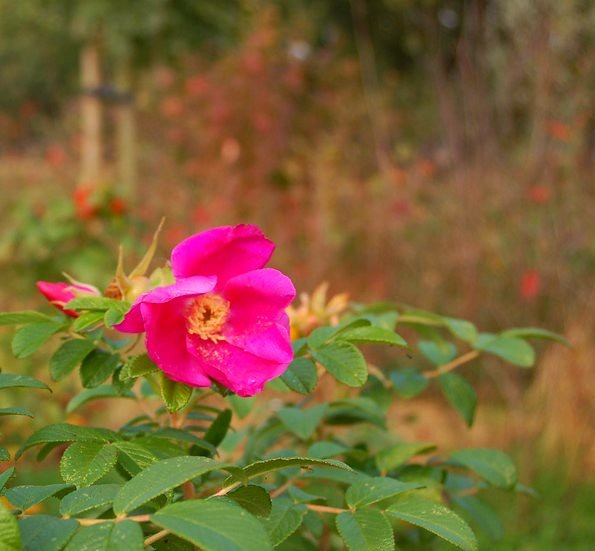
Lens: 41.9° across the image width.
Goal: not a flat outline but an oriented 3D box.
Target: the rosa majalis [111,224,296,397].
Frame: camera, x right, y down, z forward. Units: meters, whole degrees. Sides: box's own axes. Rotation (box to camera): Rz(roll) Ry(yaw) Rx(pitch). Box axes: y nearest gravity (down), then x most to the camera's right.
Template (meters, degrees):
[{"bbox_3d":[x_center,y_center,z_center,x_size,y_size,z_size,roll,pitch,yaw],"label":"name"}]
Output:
[{"bbox_3d":[-0.097,0.067,1.063,0.205,0.108,0.274,-29,29,-25],"label":"rosa majalis"}]

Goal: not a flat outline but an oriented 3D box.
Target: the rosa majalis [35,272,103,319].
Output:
[{"bbox_3d":[-0.340,0.025,1.108,0.052,0.021,0.058,-21,40,-31],"label":"rosa majalis"}]
